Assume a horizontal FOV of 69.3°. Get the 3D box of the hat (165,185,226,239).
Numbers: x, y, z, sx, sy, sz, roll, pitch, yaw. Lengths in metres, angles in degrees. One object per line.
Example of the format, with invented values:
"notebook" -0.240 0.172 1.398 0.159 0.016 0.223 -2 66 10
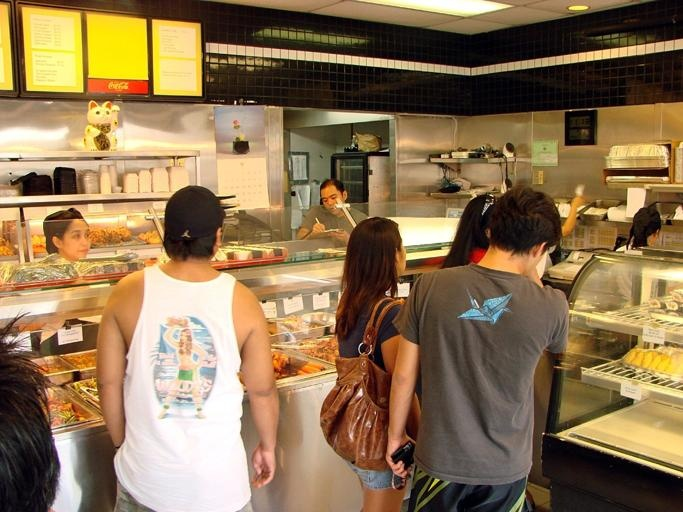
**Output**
"hat" -0.500 -0.144 1.722 0.167 0.107 0.199 2 32 3
